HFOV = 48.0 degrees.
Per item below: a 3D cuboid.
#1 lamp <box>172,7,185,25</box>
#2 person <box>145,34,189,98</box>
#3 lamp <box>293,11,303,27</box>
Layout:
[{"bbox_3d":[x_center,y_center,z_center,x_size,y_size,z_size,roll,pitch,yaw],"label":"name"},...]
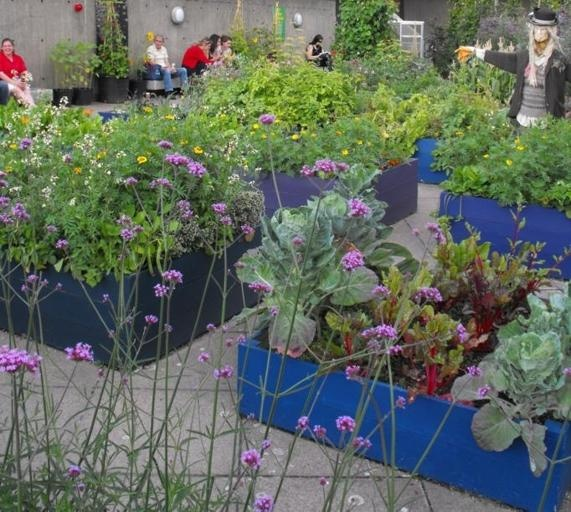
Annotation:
[{"bbox_3d":[-2.552,-5.647,15.117,0.306,0.388,0.316,4,8,43],"label":"lamp"},{"bbox_3d":[-2.643,-4.185,14.168,0.865,1.256,1.058,9,17,32],"label":"person"},{"bbox_3d":[0.324,-7.346,20.062,0.291,0.492,0.111,-4,6,-32],"label":"lamp"}]
